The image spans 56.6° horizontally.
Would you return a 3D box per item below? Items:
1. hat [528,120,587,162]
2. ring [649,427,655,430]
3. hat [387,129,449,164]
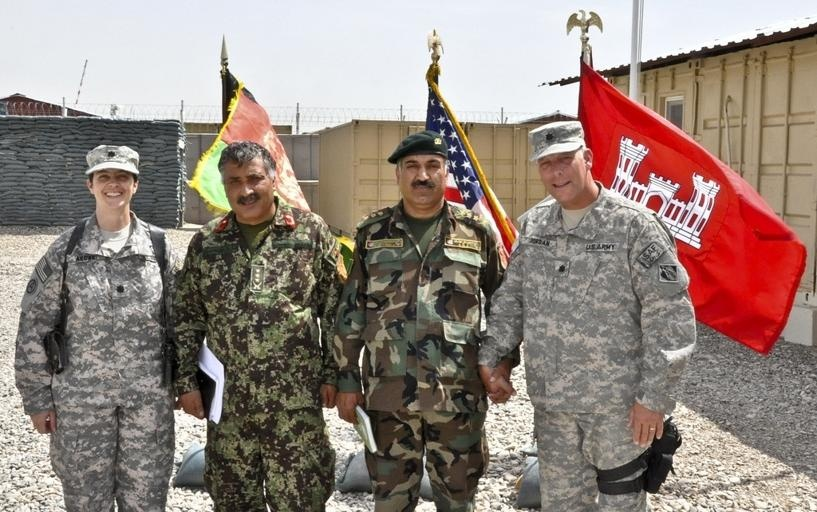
[{"bbox_3d":[1.088,-0.858,5.526,0.269,0.205,0.365,-12,-3,25],"label":"hat"},{"bbox_3d":[1.718,1.217,5.336,0.032,0.019,0.024,-4,-11,8],"label":"ring"},{"bbox_3d":[0.072,-0.827,5.736,0.306,0.134,0.281,-1,6,28],"label":"hat"}]
